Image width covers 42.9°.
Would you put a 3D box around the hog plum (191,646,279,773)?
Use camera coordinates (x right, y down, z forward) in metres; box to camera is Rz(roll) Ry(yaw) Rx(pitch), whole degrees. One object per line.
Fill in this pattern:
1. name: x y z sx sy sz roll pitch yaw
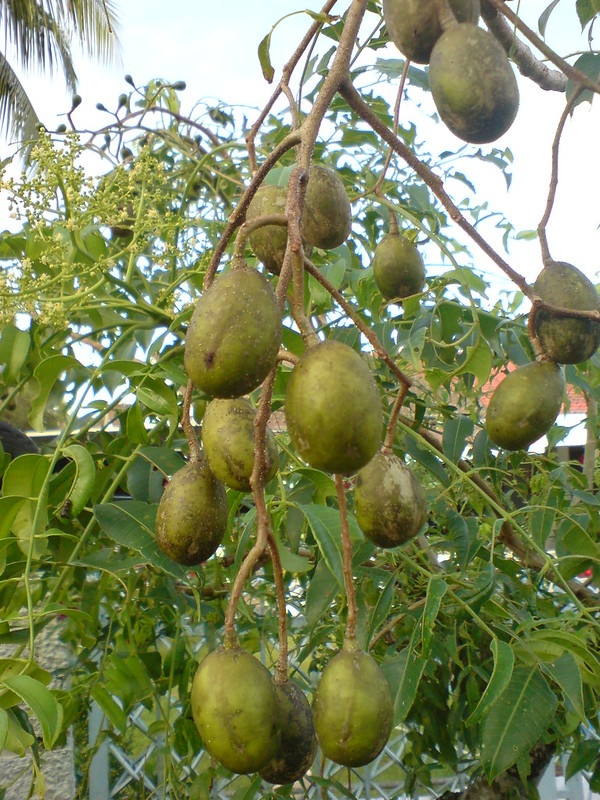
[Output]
1. hog plum: -0.055 0.265 0.658 0.073 0.066 0.090 5 32 -11
